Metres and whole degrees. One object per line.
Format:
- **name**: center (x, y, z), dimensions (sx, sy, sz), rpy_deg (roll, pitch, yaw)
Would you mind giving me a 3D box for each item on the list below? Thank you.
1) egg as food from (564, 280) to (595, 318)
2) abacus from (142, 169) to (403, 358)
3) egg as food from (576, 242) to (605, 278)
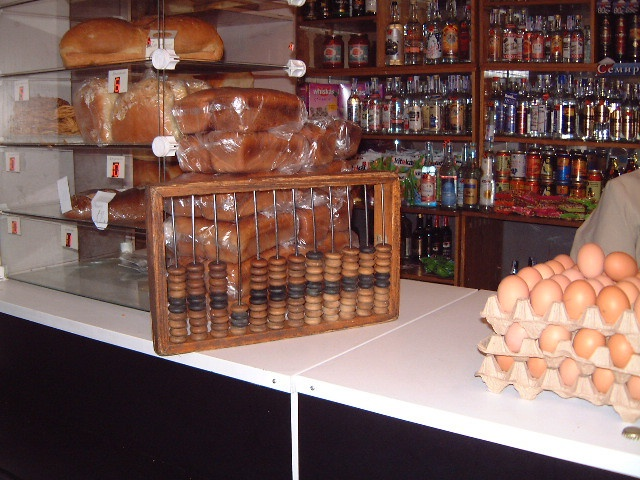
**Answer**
- **egg as food**: center (0.516, 0.120, 1.059), dimensions (0.059, 0.069, 0.050), rpy_deg (7, 13, 30)
- **abacus**: center (-0.135, 0.035, 1.467), dimensions (0.678, 0.478, 0.359), rpy_deg (-9, 12, -36)
- **egg as food**: center (0.626, 0.053, 1.224), dimensions (0.052, 0.086, 0.053), rpy_deg (-5, -16, 42)
